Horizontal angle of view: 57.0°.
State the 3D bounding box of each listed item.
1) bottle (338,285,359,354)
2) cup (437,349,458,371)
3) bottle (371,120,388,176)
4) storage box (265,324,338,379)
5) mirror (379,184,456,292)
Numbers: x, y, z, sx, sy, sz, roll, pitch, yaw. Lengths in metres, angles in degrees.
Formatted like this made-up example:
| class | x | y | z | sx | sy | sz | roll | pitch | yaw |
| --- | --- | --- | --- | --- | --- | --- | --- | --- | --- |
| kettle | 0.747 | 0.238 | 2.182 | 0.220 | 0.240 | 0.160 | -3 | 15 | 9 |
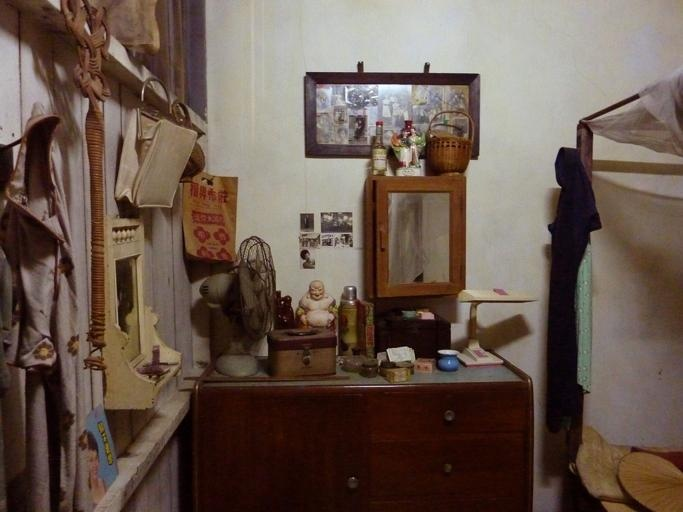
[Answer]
| class | x | y | z | sx | sy | sz | roll | pitch | yaw |
| --- | --- | --- | --- | --- | --- | --- | --- | --- | --- |
| bottle | 0.039 | 0.354 | 3.386 | 0.106 | 0.370 | 0.116 | -1 | 5 | -1 |
| cup | 0.547 | 0.539 | 3.234 | 0.090 | 0.078 | 0.097 | 1 | -8 | 0 |
| bottle | 0.207 | -0.598 | 3.436 | 0.090 | 0.314 | 0.215 | 0 | 5 | 3 |
| storage box | -0.197 | 0.494 | 3.125 | 0.254 | 0.175 | 0.232 | 0 | 3 | -8 |
| mirror | 0.382 | -0.114 | 3.306 | 0.493 | 0.774 | 0.040 | 0 | 2 | -7 |
